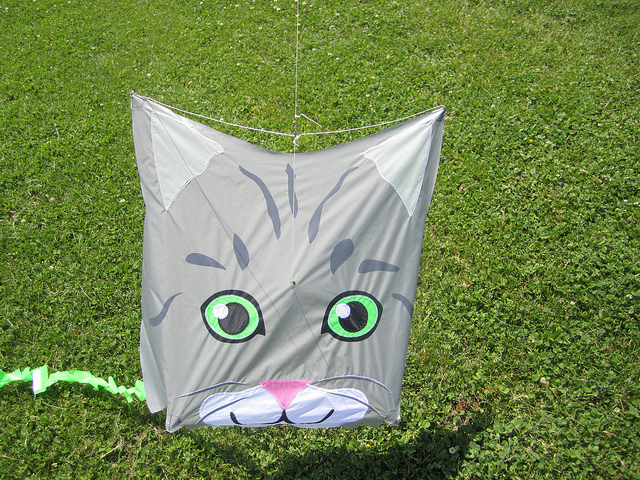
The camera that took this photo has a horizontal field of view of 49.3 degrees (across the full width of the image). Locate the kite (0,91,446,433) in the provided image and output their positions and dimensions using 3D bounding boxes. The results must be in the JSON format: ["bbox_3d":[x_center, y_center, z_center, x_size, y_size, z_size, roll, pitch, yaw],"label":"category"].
[{"bbox_3d":[-0.687,0.659,12.091,4.833,2.702,4.610,2,65,-4],"label":"kite"}]
